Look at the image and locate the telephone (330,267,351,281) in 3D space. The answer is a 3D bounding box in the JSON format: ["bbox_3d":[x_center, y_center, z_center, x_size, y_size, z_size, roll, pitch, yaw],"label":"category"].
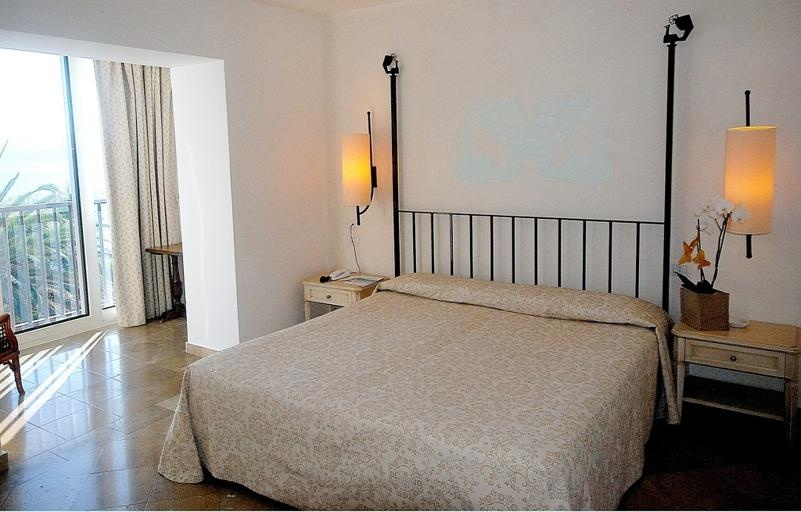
[{"bbox_3d":[-0.596,0.175,5.491,0.106,0.045,0.155,6,10,36],"label":"telephone"}]

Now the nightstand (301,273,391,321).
[{"bbox_3d":[-0.550,0.244,5.446,0.665,0.605,0.497,5,10,30],"label":"nightstand"}]

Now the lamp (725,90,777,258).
[{"bbox_3d":[2.490,-0.565,3.986,0.305,1.176,0.279,1,11,31],"label":"lamp"}]

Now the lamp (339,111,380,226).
[{"bbox_3d":[-0.401,-0.821,5.402,0.320,1.121,0.367,0,12,7],"label":"lamp"}]

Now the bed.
[{"bbox_3d":[0.174,0.993,3.737,2.879,0.856,1.604,1,11,13],"label":"bed"}]
